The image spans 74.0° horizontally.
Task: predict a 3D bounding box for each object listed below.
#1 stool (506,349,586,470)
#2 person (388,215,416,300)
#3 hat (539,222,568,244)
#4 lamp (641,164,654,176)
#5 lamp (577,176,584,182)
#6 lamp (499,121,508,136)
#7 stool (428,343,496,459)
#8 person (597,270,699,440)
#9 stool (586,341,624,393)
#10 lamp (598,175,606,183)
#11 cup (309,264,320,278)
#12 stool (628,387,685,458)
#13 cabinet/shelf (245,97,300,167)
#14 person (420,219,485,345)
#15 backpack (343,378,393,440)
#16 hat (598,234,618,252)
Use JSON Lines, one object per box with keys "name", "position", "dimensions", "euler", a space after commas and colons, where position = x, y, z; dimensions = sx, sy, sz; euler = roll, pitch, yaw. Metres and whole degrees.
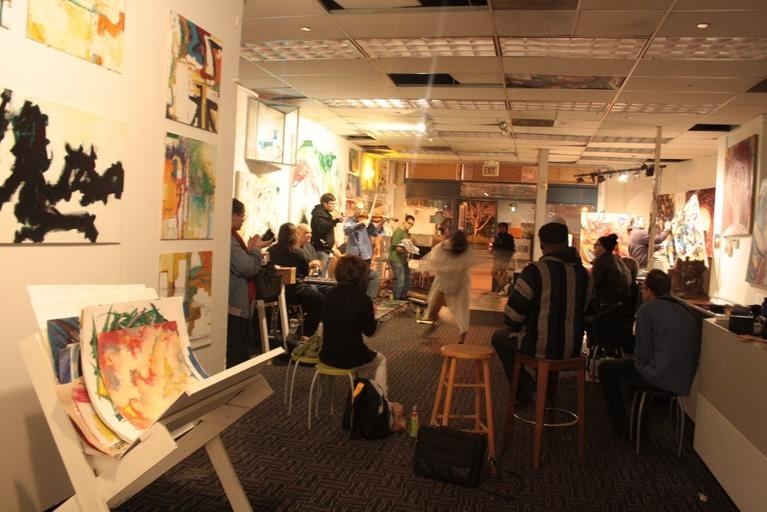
{"name": "stool", "position": [1.455, 1.368, 4.557], "dimensions": [0.661, 0.895, 0.694], "euler": [-3, -10, 34]}
{"name": "person", "position": [0.366, 0.049, 11.292], "dimensions": [0.522, 1.859, 0.754], "euler": [2, 8, 1]}
{"name": "hat", "position": [1.554, -0.196, 4.674], "dimensions": [0.181, 0.187, 0.238], "euler": [-1, 21, -1]}
{"name": "lamp", "position": [6.159, -1.962, 11.814], "dimensions": [0.193, 0.252, 2.606], "euler": [6, 9, 28]}
{"name": "lamp", "position": [5.286, -2.038, 13.663], "dimensions": [0.162, 0.230, 0.168], "euler": [3, 6, 11]}
{"name": "lamp", "position": [2.239, -2.385, 9.585], "dimensions": [0.137, 0.224, 0.222], "euler": [1, 1, 22]}
{"name": "stool", "position": [0.695, 1.283, 4.488], "dimensions": [0.687, 0.906, 0.714], "euler": [1, -2, 31]}
{"name": "person", "position": [2.607, 0.930, 4.959], "dimensions": [0.814, 1.591, 0.827], "euler": [8, 10, 37]}
{"name": "stool", "position": [2.920, 1.412, 6.497], "dimensions": [0.450, 0.674, 0.451], "euler": [0, -8, -34]}
{"name": "lamp", "position": [6.044, -2.131, 14.091], "dimensions": [0.233, 0.226, 0.055], "euler": [-5, -10, -21]}
{"name": "cup", "position": [-1.111, 0.234, 8.037], "dimensions": [0.189, 0.194, 0.345], "euler": [-4, -7, -10]}
{"name": "stool", "position": [2.602, 1.573, 4.821], "dimensions": [0.401, 0.671, 0.500], "euler": [0, 1, 19]}
{"name": "cabinet/shelf", "position": [-1.872, -2.055, 8.356], "dimensions": [0.385, 1.126, 1.191], "euler": [3, 1, 27]}
{"name": "person", "position": [0.814, 0.372, 6.435], "dimensions": [0.649, 1.385, 0.400], "euler": [7, 9, 34]}
{"name": "backpack", "position": [-0.129, 1.387, 4.836], "dimensions": [0.514, 0.555, 0.448], "euler": [3, 2, 16]}
{"name": "hat", "position": [2.950, -0.171, 6.736], "dimensions": [0.215, 0.246, 0.244], "euler": [-6, -3, 39]}
